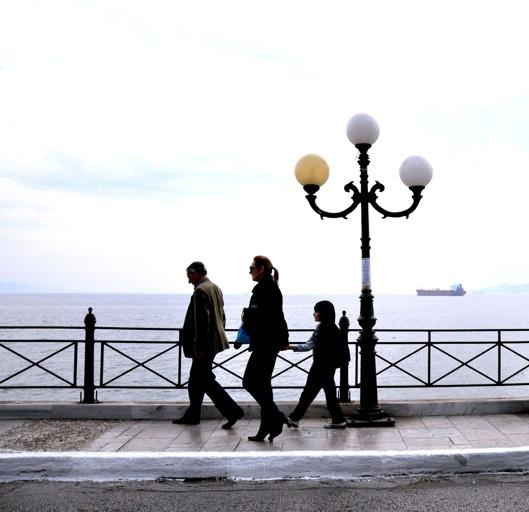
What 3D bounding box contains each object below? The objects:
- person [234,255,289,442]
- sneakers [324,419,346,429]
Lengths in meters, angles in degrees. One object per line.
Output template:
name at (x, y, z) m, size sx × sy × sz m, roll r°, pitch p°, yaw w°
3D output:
person at (-0.043, 1.043, 9.427) m, size 0.601 × 2.082 × 0.509 m, roll 1°, pitch -1°, yaw 0°
sneakers at (0.870, 2.055, 10.146) m, size 0.311 × 0.095 × 0.088 m, roll 3°, pitch -9°, yaw 3°
